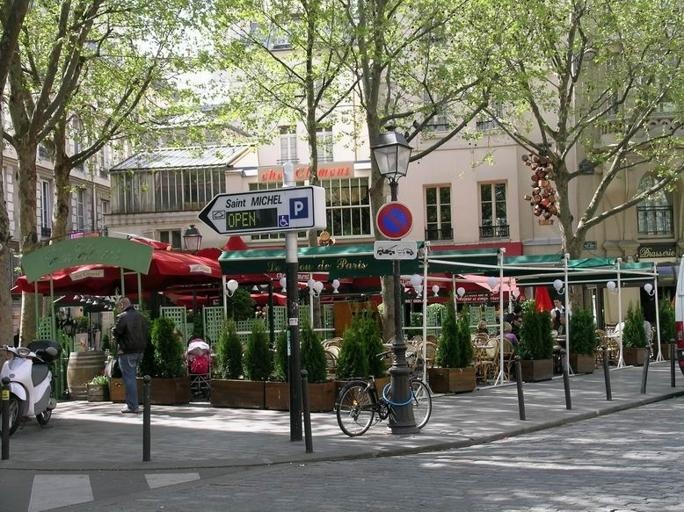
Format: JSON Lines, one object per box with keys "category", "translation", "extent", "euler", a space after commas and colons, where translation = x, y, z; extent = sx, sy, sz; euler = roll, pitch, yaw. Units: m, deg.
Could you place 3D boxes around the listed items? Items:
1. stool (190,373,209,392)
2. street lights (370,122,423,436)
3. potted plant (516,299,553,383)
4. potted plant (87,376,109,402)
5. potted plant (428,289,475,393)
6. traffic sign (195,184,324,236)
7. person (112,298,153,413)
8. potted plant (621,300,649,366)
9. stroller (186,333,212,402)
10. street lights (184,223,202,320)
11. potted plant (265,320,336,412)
{"category": "stool", "translation": [-3.323, 2.964, 23.050], "extent": [0.385, 0.401, 0.409], "euler": [0, -5, 3]}
{"category": "street lights", "translation": [1.010, 0.361, 18.320], "extent": [0.872, 5.529, 0.729], "euler": [-1, 2, 28]}
{"category": "potted plant", "translation": [5.052, 2.266, 25.434], "extent": [0.757, 2.278, 0.897], "euler": [-1, 1, -34]}
{"category": "potted plant", "translation": [-5.672, 3.133, 22.893], "extent": [0.393, 0.556, 0.761], "euler": [-1, -4, -5]}
{"category": "potted plant", "translation": [2.600, 1.994, 22.994], "extent": [1.018, 2.374, 0.843], "euler": [3, -5, -40]}
{"category": "traffic sign", "translation": [-1.492, -0.750, 17.502], "extent": [2.098, 0.823, 0.330], "euler": [-4, -10, -2]}
{"category": "person", "translation": [-4.549, 2.139, 21.231], "extent": [0.753, 2.488, 0.860], "euler": [-2, -5, -7]}
{"category": "potted plant", "translation": [8.845, 2.381, 29.640], "extent": [0.723, 1.818, 0.668], "euler": [-2, -5, 14]}
{"category": "stroller", "translation": [-3.331, 2.590, 22.879], "extent": [0.581, 1.370, 0.708], "euler": [0, -7, -13]}
{"category": "street lights", "translation": [-4.444, 0.433, 29.370], "extent": [0.569, 2.769, 0.561], "euler": [-2, -3, 20]}
{"category": "potted plant", "translation": [-0.820, 2.333, 20.437], "extent": [1.379, 1.806, 0.838], "euler": [-2, -5, 4]}
